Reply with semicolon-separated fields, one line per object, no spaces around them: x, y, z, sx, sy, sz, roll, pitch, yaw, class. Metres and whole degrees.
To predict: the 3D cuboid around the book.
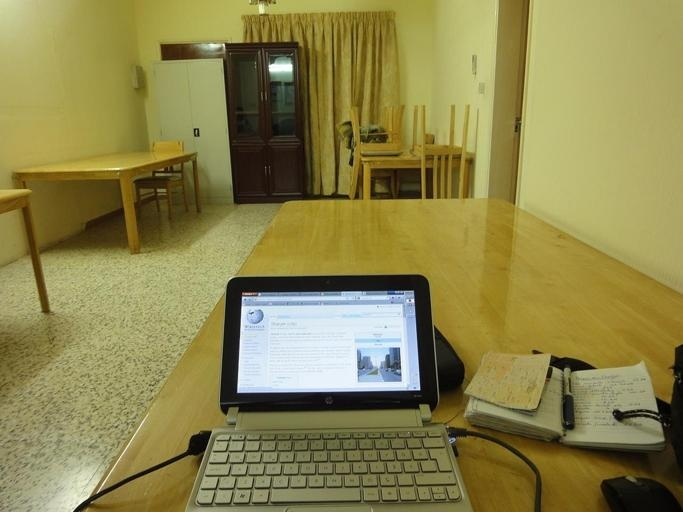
0.411;0.272;0.991;0.340;0.076;0.196;4;19;14;book

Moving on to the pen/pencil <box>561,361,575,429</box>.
0.430;0.265;0.990;0.022;0.019;0.158;-19;24;31;pen/pencil

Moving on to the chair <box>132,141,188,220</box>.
-2.031;-0.886;5.818;0.454;0.840;0.506;4;14;19;chair
